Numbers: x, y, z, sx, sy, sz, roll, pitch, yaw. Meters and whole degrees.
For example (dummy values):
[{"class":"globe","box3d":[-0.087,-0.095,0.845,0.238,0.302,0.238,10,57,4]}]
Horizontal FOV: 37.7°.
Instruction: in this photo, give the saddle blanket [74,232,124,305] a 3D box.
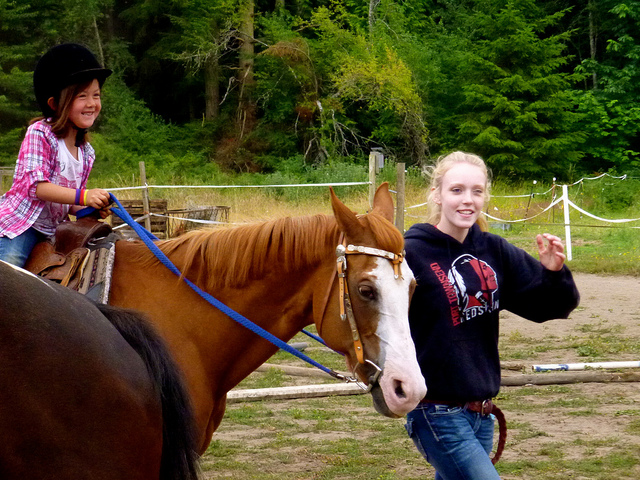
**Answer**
[{"class":"saddle blanket","box3d":[-2.292,0.284,9.640,0.361,0.643,0.492,3,7,-1]}]
